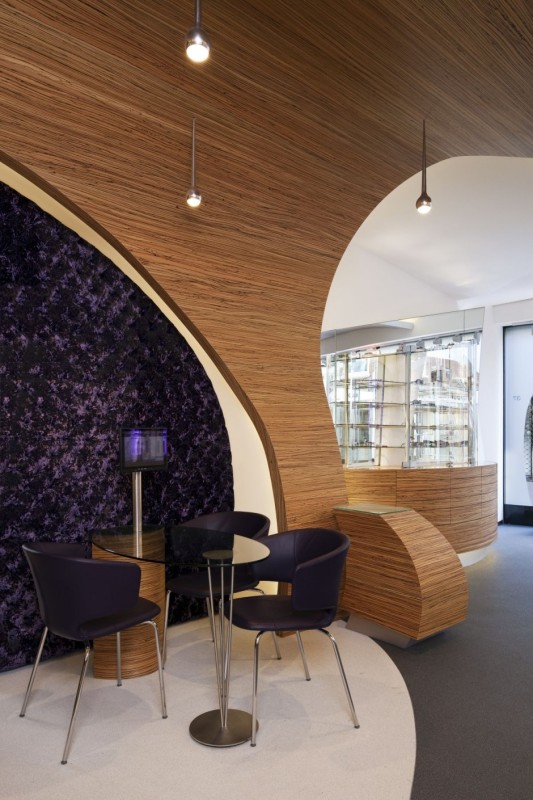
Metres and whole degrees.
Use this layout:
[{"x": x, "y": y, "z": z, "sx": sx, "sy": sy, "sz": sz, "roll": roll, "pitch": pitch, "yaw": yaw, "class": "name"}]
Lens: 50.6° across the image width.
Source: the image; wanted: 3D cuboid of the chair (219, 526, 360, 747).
[{"x": 0.125, "y": 1.089, "z": 2.701, "sx": 0.643, "sy": 0.855, "sz": 0.643, "roll": 3, "pitch": -3, "yaw": -40, "class": "chair"}]

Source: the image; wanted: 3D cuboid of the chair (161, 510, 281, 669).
[{"x": -0.315, "y": 1.048, "z": 3.198, "sx": 0.562, "sy": 0.769, "sz": 0.546, "roll": -9, "pitch": -1, "yaw": 24, "class": "chair"}]

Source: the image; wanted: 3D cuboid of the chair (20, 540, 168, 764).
[{"x": -0.776, "y": 1.036, "z": 2.503, "sx": 0.551, "sy": 0.793, "sz": 0.518, "roll": 0, "pitch": -1, "yaw": -41, "class": "chair"}]

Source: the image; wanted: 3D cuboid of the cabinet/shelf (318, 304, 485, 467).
[{"x": 1.779, "y": 0.036, "z": 6.961, "sx": 1.809, "sy": 1.794, "sz": 1.717, "roll": -5, "pitch": -7, "yaw": 28, "class": "cabinet/shelf"}]
